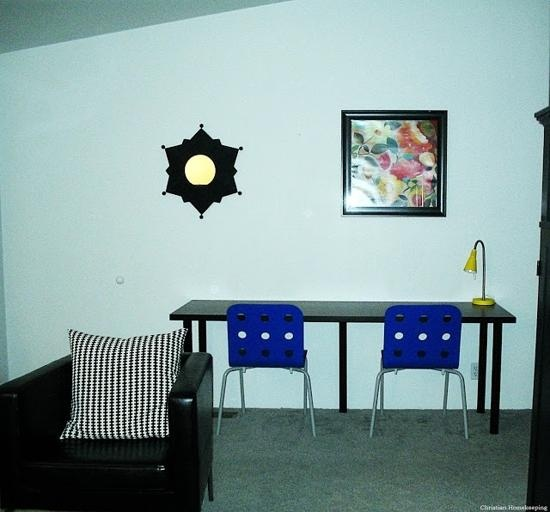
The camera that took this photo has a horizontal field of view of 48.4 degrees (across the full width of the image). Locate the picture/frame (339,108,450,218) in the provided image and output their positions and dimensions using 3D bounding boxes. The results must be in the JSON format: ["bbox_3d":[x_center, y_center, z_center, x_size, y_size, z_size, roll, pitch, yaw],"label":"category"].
[{"bbox_3d":[0.837,-0.659,4.151,0.590,0.750,0.050,0,5,4],"label":"picture/frame"}]

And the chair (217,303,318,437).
[{"bbox_3d":[-0.041,0.681,3.938,0.620,0.886,0.469,1,10,4],"label":"chair"}]
